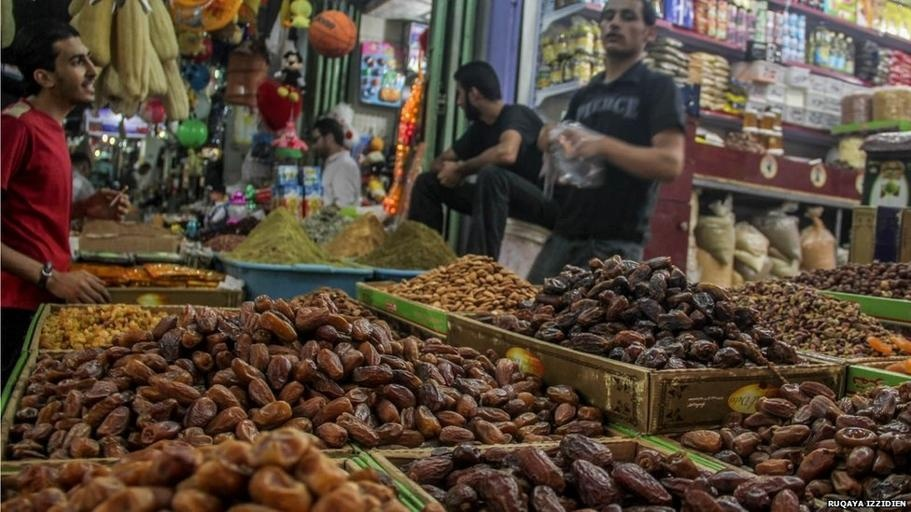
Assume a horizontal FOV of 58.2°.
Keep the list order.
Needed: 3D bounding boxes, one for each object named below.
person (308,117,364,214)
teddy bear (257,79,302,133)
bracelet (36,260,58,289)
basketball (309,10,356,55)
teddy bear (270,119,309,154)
[{"bbox_3d":[-1.102,-0.850,7.437,0.396,0.788,0.722,2,12,2],"label":"person"},{"bbox_3d":[-1.610,-1.372,7.445,0.434,0.425,0.260,21,8,17],"label":"teddy bear"},{"bbox_3d":[-2.723,0.131,5.471,0.087,0.122,0.139,26,39,4],"label":"bracelet"},{"bbox_3d":[-1.090,-2.013,7.416,0.367,0.395,0.386,-2,-4,-1],"label":"basketball"},{"bbox_3d":[-1.495,-1.025,7.484,0.401,0.414,0.219,5,1,-19],"label":"teddy bear"}]
